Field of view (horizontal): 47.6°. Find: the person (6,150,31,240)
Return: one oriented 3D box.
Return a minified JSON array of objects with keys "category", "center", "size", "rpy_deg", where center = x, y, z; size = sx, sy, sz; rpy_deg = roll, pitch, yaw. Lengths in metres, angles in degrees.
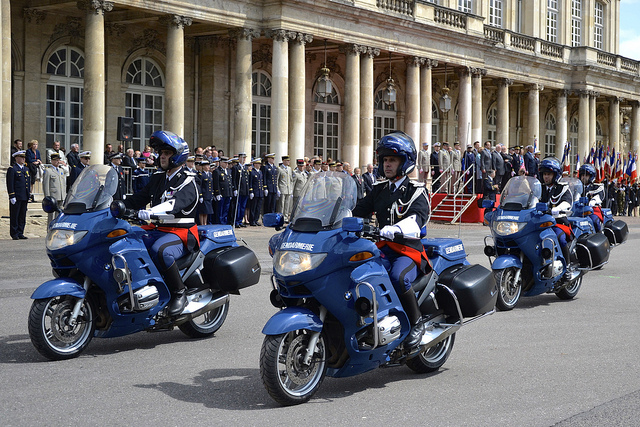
[{"category":"person","center":[-7.799,-0.481,18.894],"size":[0.534,2.179,1.403],"rpy_deg":[-2,7,-24]}]

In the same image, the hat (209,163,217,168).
[{"category":"hat","center":[-3.253,-1.456,22.174],"size":[0.202,0.095,0.231],"rpy_deg":[-3,2,16]}]

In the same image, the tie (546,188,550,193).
[{"category":"tie","center":[3.869,-0.384,12.353],"size":[0.055,0.078,0.018],"rpy_deg":[0,-10,12]}]

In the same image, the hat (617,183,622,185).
[{"category":"hat","center":[15.267,-1.500,37.191],"size":[0.197,0.049,0.186],"rpy_deg":[7,-6,-15]}]

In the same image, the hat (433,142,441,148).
[{"category":"hat","center":[4.756,-2.824,29.534],"size":[0.271,0.156,0.362],"rpy_deg":[-2,1,-1]}]

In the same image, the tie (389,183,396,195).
[{"category":"tie","center":[0.809,-0.279,8.107],"size":[0.056,0.106,0.025],"rpy_deg":[4,-15,34]}]

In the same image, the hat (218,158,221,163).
[{"category":"hat","center":[-3.135,-1.656,22.879],"size":[0.037,0.144,0.046],"rpy_deg":[11,-16,-12]}]

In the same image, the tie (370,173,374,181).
[{"category":"tie","center":[2.004,-1.400,28.017],"size":[0.067,0.286,0.291],"rpy_deg":[-7,-7,27]}]

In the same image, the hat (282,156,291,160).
[{"category":"hat","center":[-1.192,-1.969,25.785],"size":[0.345,0.160,0.403],"rpy_deg":[-6,0,6]}]

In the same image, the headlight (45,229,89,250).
[{"category":"headlight","center":[-2.997,0.309,8.574],"size":[0.557,0.233,0.165],"rpy_deg":[3,7,18]}]

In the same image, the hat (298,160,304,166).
[{"category":"hat","center":[-0.661,-1.772,25.545],"size":[0.176,0.194,0.269],"rpy_deg":[0,7,-2]}]

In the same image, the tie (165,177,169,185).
[{"category":"tie","center":[-1.936,-0.412,9.263],"size":[0.012,0.056,0.056],"rpy_deg":[20,-12,-23]}]

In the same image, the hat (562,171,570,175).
[{"category":"hat","center":[5.111,-0.849,15.204],"size":[0.138,0.037,0.133],"rpy_deg":[-4,-4,-23]}]

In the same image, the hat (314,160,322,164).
[{"category":"hat","center":[-0.068,-1.851,26.187],"size":[0.238,0.147,0.304],"rpy_deg":[0,7,-4]}]
